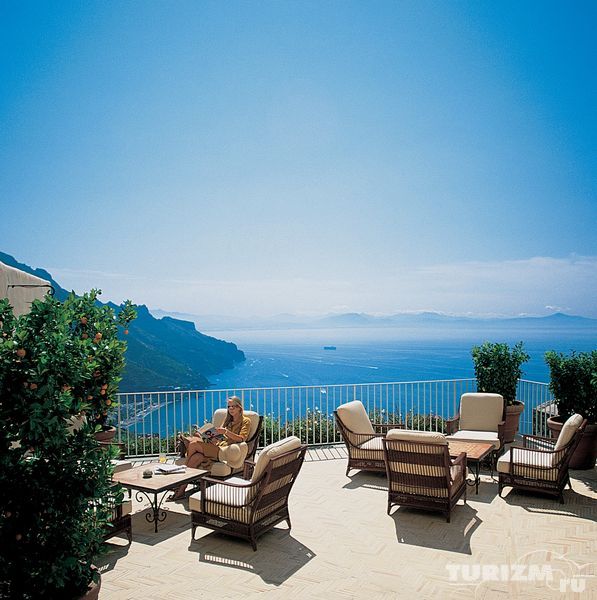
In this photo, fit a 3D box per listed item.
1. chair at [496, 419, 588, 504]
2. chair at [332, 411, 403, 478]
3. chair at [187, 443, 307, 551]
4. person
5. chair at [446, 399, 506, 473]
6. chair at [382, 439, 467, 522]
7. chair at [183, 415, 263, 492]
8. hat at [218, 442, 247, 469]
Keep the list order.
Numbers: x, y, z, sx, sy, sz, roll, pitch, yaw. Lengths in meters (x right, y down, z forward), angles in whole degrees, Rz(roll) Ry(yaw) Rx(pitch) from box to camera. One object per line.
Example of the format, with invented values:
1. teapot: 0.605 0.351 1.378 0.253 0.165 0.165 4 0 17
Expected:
1. chair: 3.477 2.155 6.091 0.888 0.967 1.101 20 -22 -27
2. chair: 1.248 2.123 7.349 1.042 0.962 1.284 -2 -6 22
3. chair: -0.523 1.991 4.882 1.071 0.883 0.816 -6 -8 34
4. person: -1.181 1.975 6.215 1.051 1.176 0.872 9 -19 -13
5. chair: 3.061 2.105 7.590 0.899 1.042 1.130 -2 -4 26
6. chair: 1.607 2.072 5.660 0.873 0.867 1.137 -4 -11 26
7. chair: -1.049 1.976 6.227 1.011 0.960 1.002 -9 -17 42
8. hat: -0.841 2.011 6.017 0.338 0.280 0.318 -14 -46 8
